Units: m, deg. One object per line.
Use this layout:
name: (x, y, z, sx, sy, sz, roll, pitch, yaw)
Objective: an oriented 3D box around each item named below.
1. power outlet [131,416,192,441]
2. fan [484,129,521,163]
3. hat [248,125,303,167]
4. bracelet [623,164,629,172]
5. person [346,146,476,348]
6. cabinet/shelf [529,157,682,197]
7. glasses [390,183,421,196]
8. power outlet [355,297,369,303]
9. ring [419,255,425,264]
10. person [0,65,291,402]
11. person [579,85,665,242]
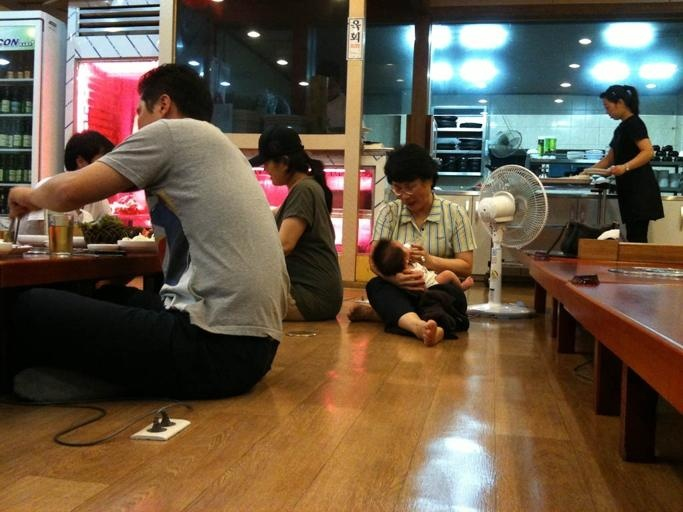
power outlet: (-0.493, 0.471, 1.496, 0.112, 0.020, 0.147, 3, 5, 13)
fan: (2.049, -1.412, 6.870, 0.355, 0.401, 0.443, 2, 5, 12)
hat: (-0.347, -0.607, 2.947, 0.309, 0.175, 0.201, -10, 22, -3)
bracelet: (2.482, -0.777, 4.757, 0.041, 0.053, 0.021, 2, 4, 3)
person: (0.382, -0.101, 3.015, 0.731, 1.008, 1.062, 0, 8, 11)
cabinet/shelf: (2.790, -0.815, 5.607, 0.870, 0.332, 0.554, 1, 10, 16)
glasses: (0.355, -0.378, 3.061, 0.167, 0.067, 0.111, 3, 5, 22)
power outlet: (0.151, 0.316, 3.907, 0.065, 0.030, 0.087, 4, -6, 8)
ring: (0.442, 0.016, 3.036, 0.025, 0.040, 0.040, -5, 26, 4)
person: (-0.617, -0.065, 2.161, 1.065, 1.181, 0.927, 6, 1, 19)
person: (2.604, -0.845, 4.976, 0.625, 1.402, 0.652, 4, 5, 29)
